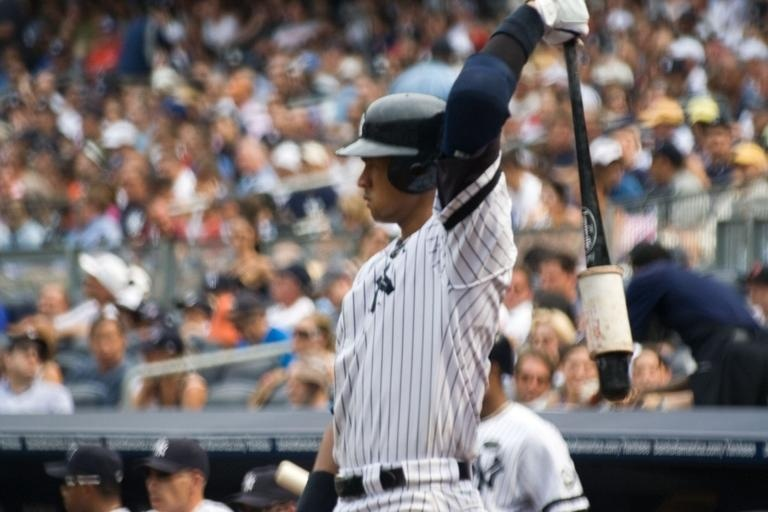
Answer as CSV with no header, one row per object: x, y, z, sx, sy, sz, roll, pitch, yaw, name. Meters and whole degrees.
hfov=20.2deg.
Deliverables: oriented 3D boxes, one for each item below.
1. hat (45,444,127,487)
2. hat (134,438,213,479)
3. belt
-2.291,1.614,16.514,0.473,0.232,0.303,4,-11,4,hat
-1.581,1.536,16.432,0.433,0.231,0.301,22,-5,-7,hat
0.120,1.512,14.581,0.895,0.282,0.211,2,-5,-5,belt
